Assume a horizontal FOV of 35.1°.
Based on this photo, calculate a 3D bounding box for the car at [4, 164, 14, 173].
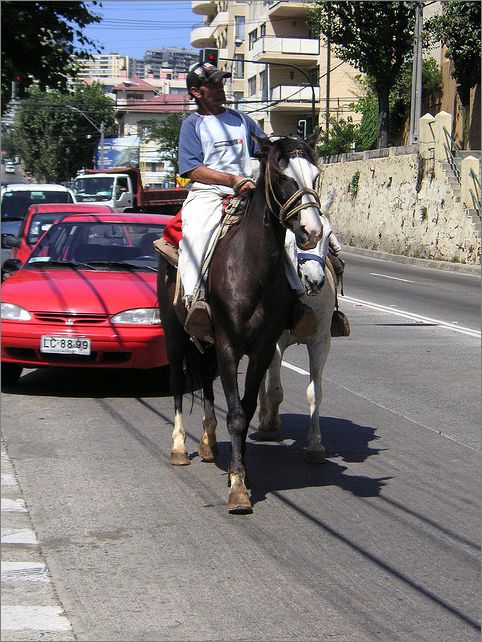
[{"bbox_3d":[-51.554,-34.067,168.839,2.408,1.756,3.773,-2,0,-12],"label":"car"}]
